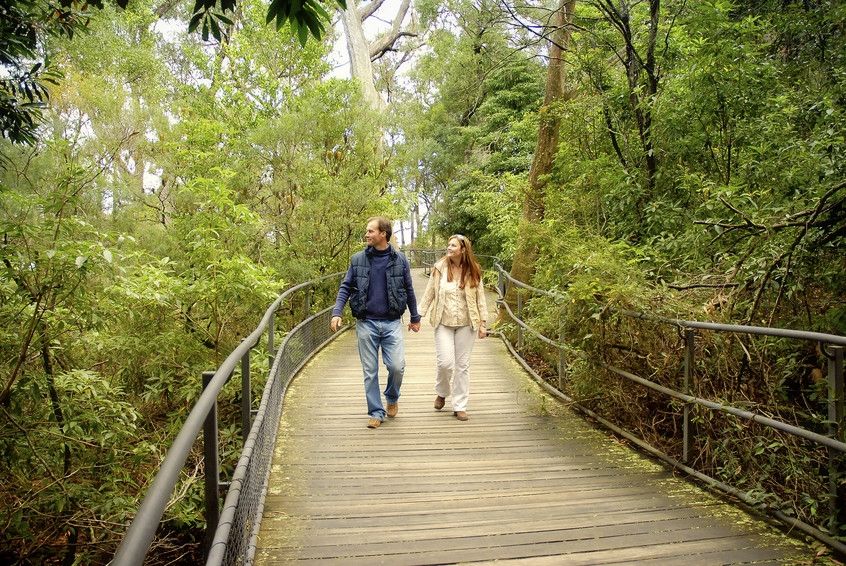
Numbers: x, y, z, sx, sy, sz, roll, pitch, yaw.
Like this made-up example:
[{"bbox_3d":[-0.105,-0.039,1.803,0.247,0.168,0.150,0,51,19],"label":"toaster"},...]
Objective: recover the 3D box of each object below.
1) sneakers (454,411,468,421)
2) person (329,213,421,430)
[{"bbox_3d":[0.418,1.481,6.644,0.064,0.079,0.183,-1,-5,-12],"label":"sneakers"},{"bbox_3d":[-0.483,0.421,6.514,0.865,2.238,0.832,1,12,9],"label":"person"}]
